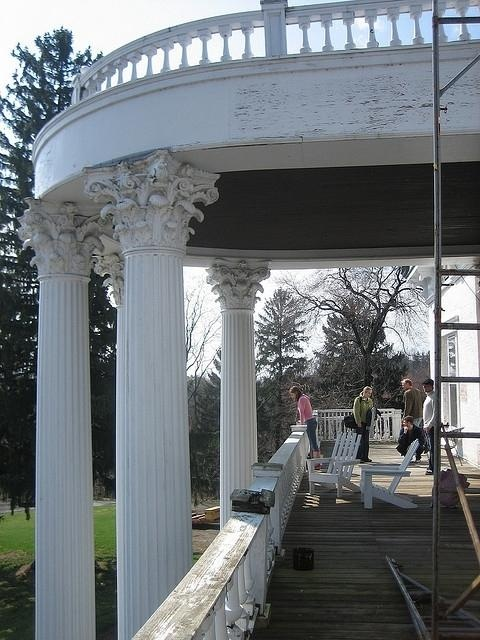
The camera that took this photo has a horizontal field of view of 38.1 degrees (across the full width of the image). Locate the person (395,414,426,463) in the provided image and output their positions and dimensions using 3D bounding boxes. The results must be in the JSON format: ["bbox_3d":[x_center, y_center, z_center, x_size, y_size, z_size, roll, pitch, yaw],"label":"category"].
[{"bbox_3d":[4.020,2.772,16.147,0.552,1.055,0.698,-6,-2,-21],"label":"person"}]

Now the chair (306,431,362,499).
[{"bbox_3d":[1.726,2.561,12.321,0.711,1.041,0.964,-4,-7,42],"label":"chair"}]
